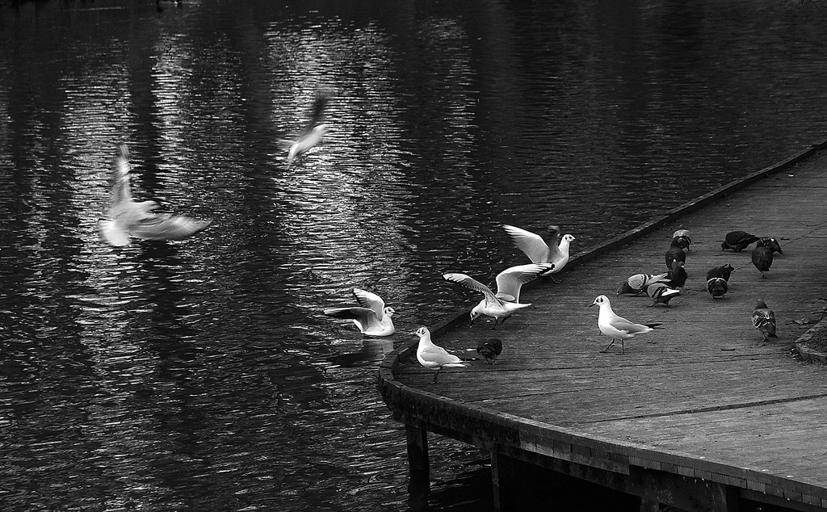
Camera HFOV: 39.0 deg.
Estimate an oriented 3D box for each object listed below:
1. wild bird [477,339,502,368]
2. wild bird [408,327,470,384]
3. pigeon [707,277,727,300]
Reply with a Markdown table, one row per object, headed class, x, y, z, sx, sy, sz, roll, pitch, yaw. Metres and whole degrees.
| class | x | y | z | sx | sy | sz | roll | pitch | yaw |
| --- | --- | --- | --- | --- | --- | --- | --- | --- | --- |
| wild bird | 1.400 | 1.695 | 21.227 | 0.456 | 0.484 | 0.529 | 6 | 18 | 3 |
| wild bird | 0.515 | 1.722 | 20.696 | 0.960 | 0.974 | 0.972 | 5 | 18 | 1 |
| pigeon | 6.116 | 0.623 | 23.420 | 0.427 | 0.453 | 0.450 | 8 | 19 | 10 |
